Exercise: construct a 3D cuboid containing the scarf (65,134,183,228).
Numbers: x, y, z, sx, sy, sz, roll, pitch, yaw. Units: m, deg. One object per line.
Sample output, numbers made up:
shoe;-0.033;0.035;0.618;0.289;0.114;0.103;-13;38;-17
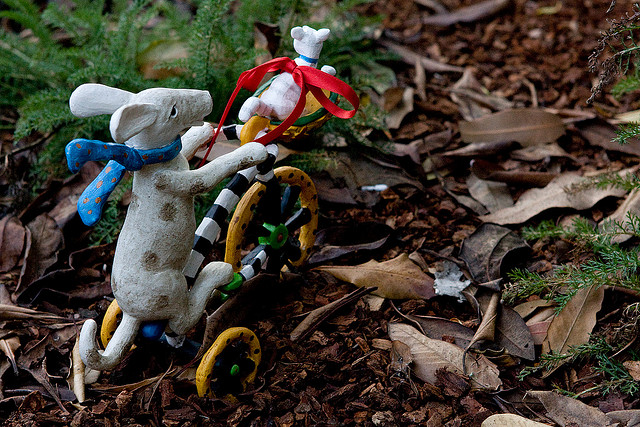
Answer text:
scarf;-0.946;-0.148;3.211;0.507;0.476;0.104;-16;37;-11
